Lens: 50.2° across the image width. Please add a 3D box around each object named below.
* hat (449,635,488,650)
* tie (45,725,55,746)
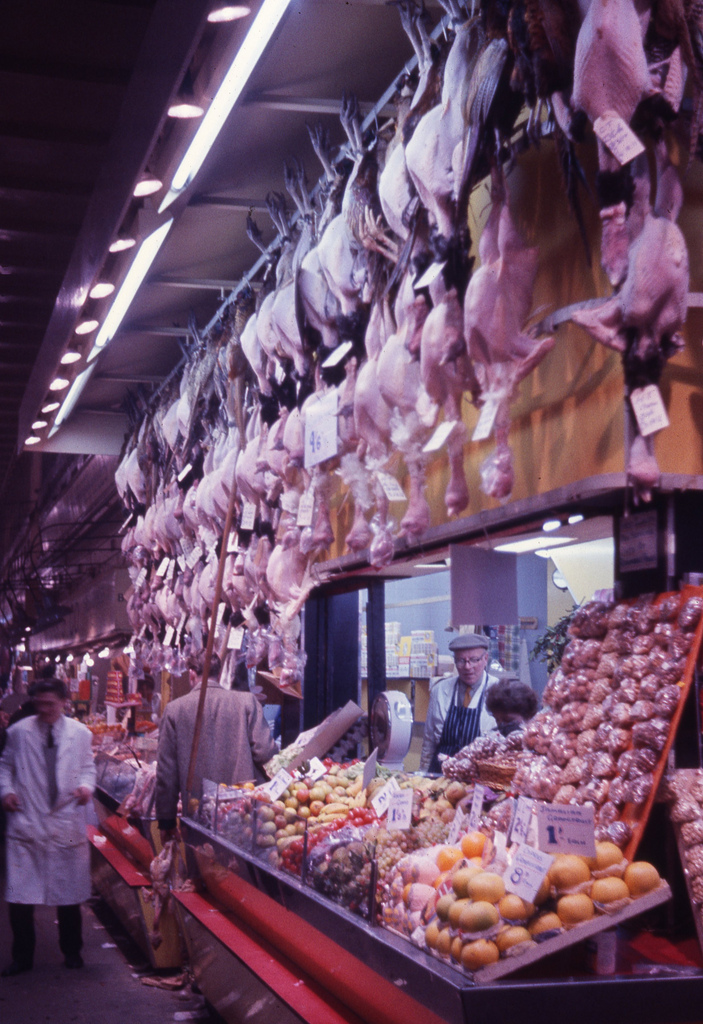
[{"bbox_3d":[0.474,0.537,3.048,0.169,0.067,0.105,-3,-8,0],"label":"hat"},{"bbox_3d":[-1.773,1.326,4.419,0.029,0.140,0.033,0,0,-10],"label":"tie"}]
